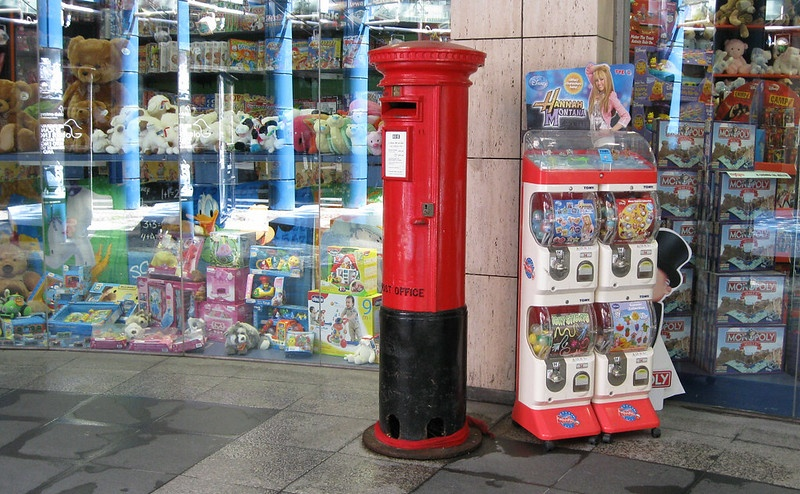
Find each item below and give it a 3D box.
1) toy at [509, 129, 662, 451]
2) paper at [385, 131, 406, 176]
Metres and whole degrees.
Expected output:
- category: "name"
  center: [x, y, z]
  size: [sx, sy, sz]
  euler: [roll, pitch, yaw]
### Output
- category: "toy"
  center: [1.420, 0.290, 5.055]
  size: [1.173, 2.332, 0.516]
  euler: [-4, 9, -10]
- category: "paper"
  center: [-0.034, -0.661, 4.731]
  size: [0.171, 0.330, 0.037]
  euler: [4, 11, 35]
